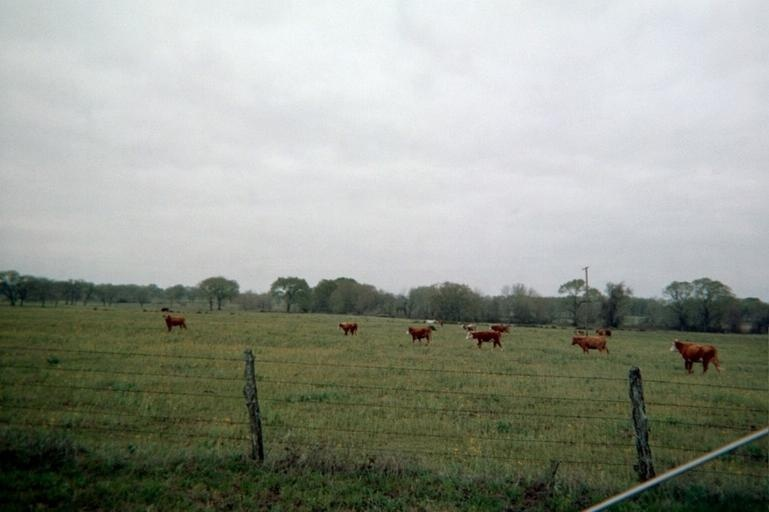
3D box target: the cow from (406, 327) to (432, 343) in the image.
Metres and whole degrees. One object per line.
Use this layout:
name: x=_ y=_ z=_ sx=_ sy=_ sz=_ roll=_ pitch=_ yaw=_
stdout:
cow: x=2.471 y=5.542 z=48.955 sx=1.797 sy=1.113 sz=0.864 roll=4 pitch=-10 yaw=3

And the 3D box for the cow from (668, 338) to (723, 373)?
cow: x=17.447 y=5.680 z=38.930 sx=0.758 sy=1.723 sz=2.960 roll=-5 pitch=3 yaw=-34
